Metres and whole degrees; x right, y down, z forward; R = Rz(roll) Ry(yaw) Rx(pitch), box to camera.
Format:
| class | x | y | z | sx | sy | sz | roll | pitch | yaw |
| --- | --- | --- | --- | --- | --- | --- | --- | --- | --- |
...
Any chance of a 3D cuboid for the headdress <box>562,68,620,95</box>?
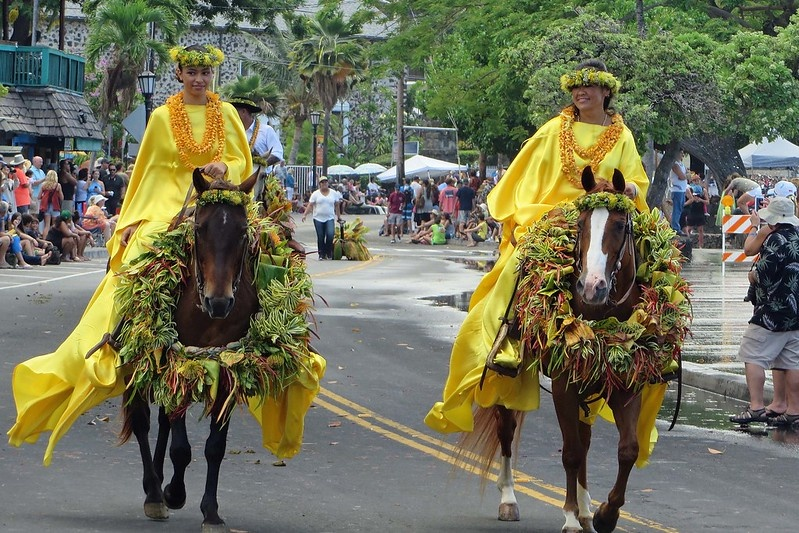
| class | x | y | z | sx | sy | sz | roll | pitch | yaw |
| --- | --- | --- | --- | --- | --- | --- | --- | --- | --- |
| headdress | 1.954 | -1.909 | 13.787 | 0.574 | 0.256 | 0.351 | 2 | 9 | 6 |

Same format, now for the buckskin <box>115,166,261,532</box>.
| class | x | y | z | sx | sy | sz | roll | pitch | yaw |
| --- | --- | --- | --- | --- | --- | --- | --- | --- | --- |
| buckskin | -1.916 | 0.753 | 12.580 | 1.110 | 3.290 | 1.047 | 3 | 10 | 5 |

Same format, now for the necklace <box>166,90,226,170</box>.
| class | x | y | z | sx | sy | sz | roll | pitch | yaw |
| --- | --- | --- | --- | --- | --- | --- | --- | --- | --- |
| necklace | -2.029 | -1.346 | 13.664 | 0.589 | 0.803 | 0.238 | 2 | -26 | -14 |

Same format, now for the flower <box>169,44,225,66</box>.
| class | x | y | z | sx | sy | sz | roll | pitch | yaw |
| --- | --- | --- | --- | --- | --- | --- | --- | --- | --- |
| flower | -2.036 | -2.130 | 13.752 | 0.357 | 0.136 | 0.317 | 0 | 3 | 3 |

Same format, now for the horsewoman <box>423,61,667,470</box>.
| class | x | y | z | sx | sy | sz | roll | pitch | yaw |
| --- | --- | --- | --- | --- | --- | --- | --- | --- | --- |
| horsewoman | 1.687 | -0.080 | 14.012 | 2.792 | 4.040 | 3.257 | 1 | -3 | 11 |

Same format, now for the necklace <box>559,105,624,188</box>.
| class | x | y | z | sx | sy | sz | roll | pitch | yaw |
| --- | --- | --- | --- | --- | --- | --- | --- | --- | --- |
| necklace | 1.923 | -1.207 | 13.824 | 0.626 | 0.787 | 0.178 | 7 | -22 | 4 |

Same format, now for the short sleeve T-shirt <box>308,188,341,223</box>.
| class | x | y | z | sx | sy | sz | roll | pitch | yaw |
| --- | --- | --- | --- | --- | --- | --- | --- | --- | --- |
| short sleeve T-shirt | -1.862 | -1.581 | 33.912 | 0.889 | 0.700 | 0.439 | -2 | 9 | -11 |

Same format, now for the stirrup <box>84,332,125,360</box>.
| class | x | y | z | sx | sy | sz | roll | pitch | yaw |
| --- | --- | --- | --- | --- | --- | --- | --- | --- | --- |
| stirrup | -2.815 | 0.771 | 12.828 | 0.212 | 0.308 | 0.087 | 30 | -4 | 7 |
